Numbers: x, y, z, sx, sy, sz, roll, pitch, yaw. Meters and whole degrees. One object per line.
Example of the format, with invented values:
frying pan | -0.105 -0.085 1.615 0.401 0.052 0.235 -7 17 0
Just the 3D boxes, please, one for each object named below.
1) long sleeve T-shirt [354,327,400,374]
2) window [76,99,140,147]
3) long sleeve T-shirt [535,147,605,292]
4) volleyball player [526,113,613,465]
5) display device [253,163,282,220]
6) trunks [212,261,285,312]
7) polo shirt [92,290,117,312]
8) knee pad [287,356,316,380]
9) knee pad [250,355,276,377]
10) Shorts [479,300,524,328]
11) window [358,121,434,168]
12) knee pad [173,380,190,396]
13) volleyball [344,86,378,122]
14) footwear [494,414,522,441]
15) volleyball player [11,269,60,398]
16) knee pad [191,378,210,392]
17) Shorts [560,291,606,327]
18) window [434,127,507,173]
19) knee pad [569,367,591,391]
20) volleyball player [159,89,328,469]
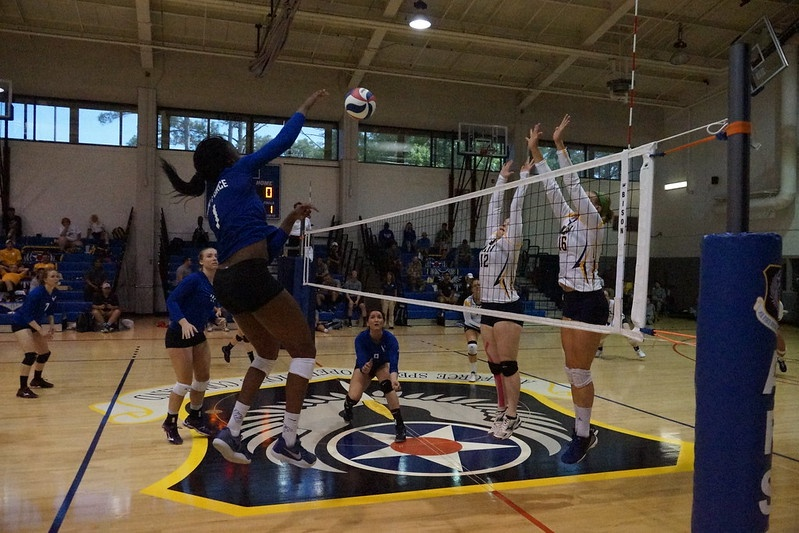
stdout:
long sleeve T-shirt | -0.276 1.029 7.921 0.402 0.521 0.561 3 -25 -4
window | -8.261 -3.891 18.002 1.531 1.087 0.047 5 -8 5
long sleeve T-shirt | 1.891 -0.474 7.198 0.937 1.513 0.648 10 -2 -3
volleyball player | 1.844 0.229 7.078 0.896 3.765 1.398 2 9 12
display device | -3.991 -2.140 19.051 0.841 1.535 0.172 1 6 16
trunks | -1.358 0.308 5.852 0.622 0.464 0.450 -15 11 40
polo shirt | -6.687 0.791 14.531 0.463 0.626 0.362 -2 3 -41
knee pad | -0.896 0.939 5.908 0.195 0.166 0.202 0 -5 21
knee pad | -1.301 0.933 6.094 0.199 0.138 0.163 -19 -29 34
Shorts | 1.190 0.661 7.492 0.434 0.323 0.323 -9 -23 38
window | -0.109 -3.804 20.173 2.377 1.217 0.062 0 -7 -7
knee pad | -2.565 1.421 7.492 0.166 0.134 0.171 8 -22 40
volleyball | -0.489 -2.013 8.156 0.391 0.426 0.425 -9 -35 11
footwear | 1.263 1.895 7.570 0.193 0.172 0.439 -1 -30 -22
volleyball player | -5.173 0.896 9.175 0.611 1.747 1.316 -4 10 -29
knee pad | -2.366 1.411 7.615 0.168 0.125 0.169 10 -2 -26
Shorts | 1.983 0.515 7.060 0.505 0.479 0.389 -2 -39 23
window | 2.613 -3.813 20.208 1.483 1.065 0.872 9 -15 -15
knee pad | 1.950 1.169 6.917 0.253 0.188 0.188 4 14 43
volleyball player | -1.396 0.294 6.240 1.071 3.710 1.327 -2 9 -18
